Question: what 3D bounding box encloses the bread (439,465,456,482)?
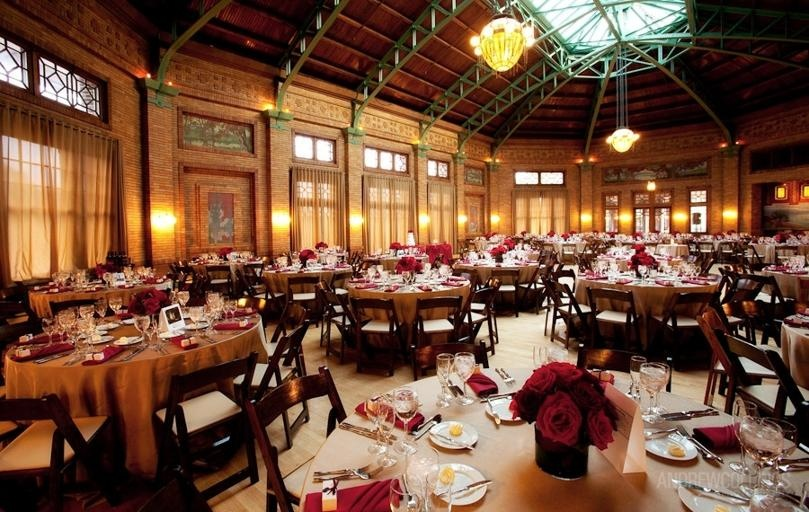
[{"bbox_3d":[0.430,2.209,5.080,0.121,0.064,0.172,1,10,2],"label":"bread"}]
